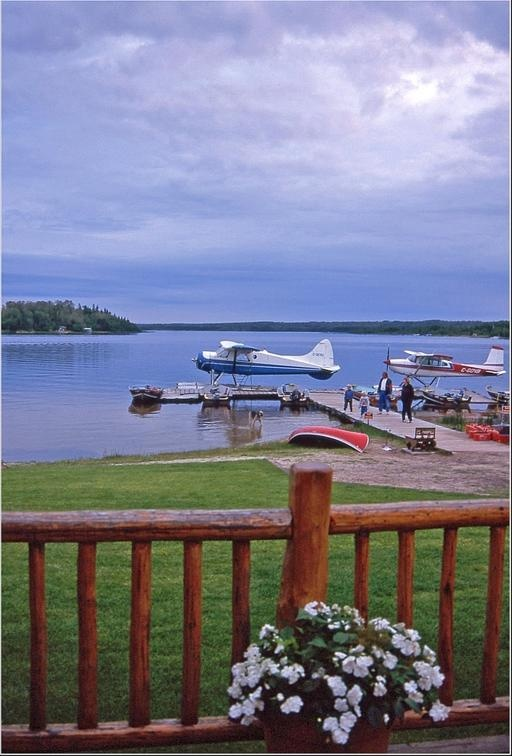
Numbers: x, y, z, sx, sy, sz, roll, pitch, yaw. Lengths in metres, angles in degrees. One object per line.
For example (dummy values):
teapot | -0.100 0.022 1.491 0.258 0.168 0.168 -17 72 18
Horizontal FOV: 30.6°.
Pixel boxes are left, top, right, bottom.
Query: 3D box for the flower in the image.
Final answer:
flower | 0.323 1.228 3.791 0.727 0.477 0.682 2 -16 -2

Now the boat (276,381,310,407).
boat | 1.747 0.848 45.001 1.505 1.016 2.644 0 2 -3

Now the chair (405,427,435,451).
chair | 3.183 1.177 17.641 0.365 0.362 0.607 0 -5 -4

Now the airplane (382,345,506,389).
airplane | 9.171 -0.562 43.121 7.310 1.645 2.714 -2 -3 -39

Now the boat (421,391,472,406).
boat | 6.779 0.749 33.405 1.156 0.479 2.255 -3 -3 -28

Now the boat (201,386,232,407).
boat | -1.765 0.892 41.943 1.343 0.762 1.442 -4 -3 -7

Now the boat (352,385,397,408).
boat | 4.234 0.608 34.025 1.109 0.509 1.489 -1 -4 18
